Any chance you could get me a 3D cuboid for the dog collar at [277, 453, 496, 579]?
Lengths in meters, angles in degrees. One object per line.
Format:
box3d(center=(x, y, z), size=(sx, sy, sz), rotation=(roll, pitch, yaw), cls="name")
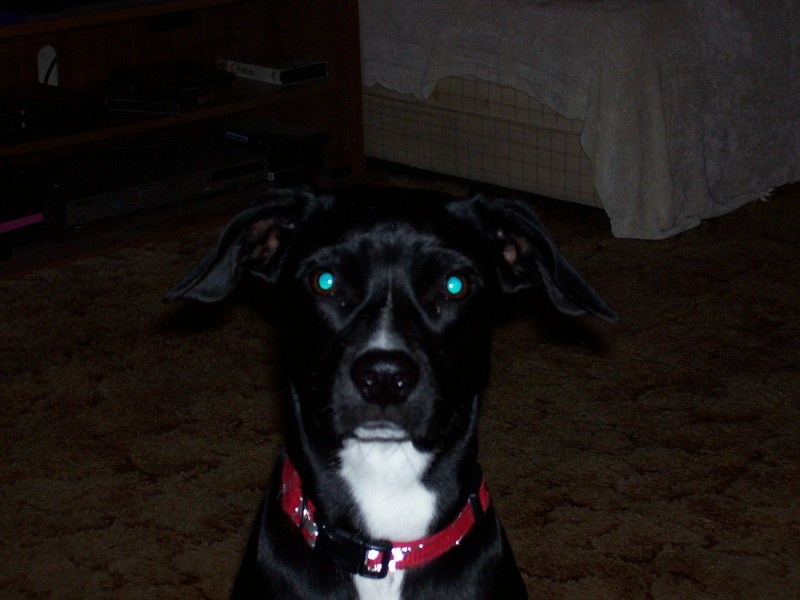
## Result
box3d(center=(-0.047, 0.481, 1.766), size=(0.489, 0.136, 0.238), rotation=(3, 35, 4), cls="dog collar")
